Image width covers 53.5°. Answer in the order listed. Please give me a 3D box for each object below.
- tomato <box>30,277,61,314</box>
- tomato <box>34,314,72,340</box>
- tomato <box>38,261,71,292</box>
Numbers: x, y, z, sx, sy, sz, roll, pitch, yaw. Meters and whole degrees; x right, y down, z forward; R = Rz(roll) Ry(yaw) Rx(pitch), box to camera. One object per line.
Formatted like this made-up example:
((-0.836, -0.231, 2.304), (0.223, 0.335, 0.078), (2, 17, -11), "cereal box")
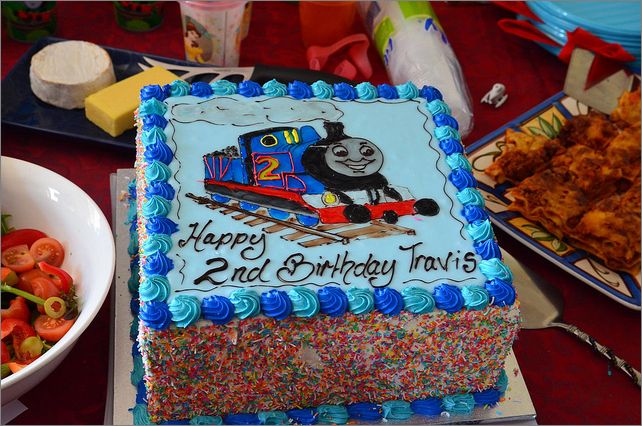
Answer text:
((-1.263, 0.337, 2.892), (0.104, 0.077, 0.142), (-29, 78, -18), "tomato")
((-1.202, 0.511, 2.834), (0.174, 0.063, 0.109), (11, 70, -6), "tomato")
((-1.218, 0.289, 2.939), (0.104, 0.055, 0.167), (-41, 78, -22), "tomato")
